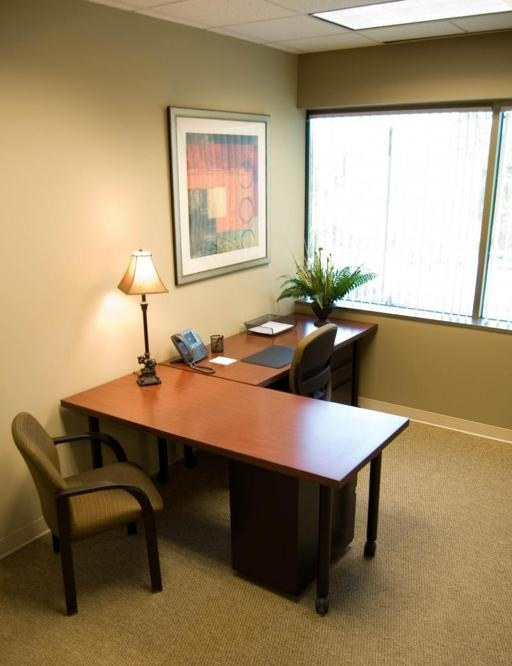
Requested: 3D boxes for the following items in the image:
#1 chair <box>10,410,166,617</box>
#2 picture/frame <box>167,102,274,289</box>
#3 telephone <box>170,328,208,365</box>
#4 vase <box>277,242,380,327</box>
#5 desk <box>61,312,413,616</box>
[{"bbox_3d":[-0.639,0.661,2.134,0.531,0.741,0.560,0,15,-4],"label":"chair"},{"bbox_3d":[-0.235,-0.854,3.188,0.042,1.139,1.040,8,17,30],"label":"picture/frame"},{"bbox_3d":[-0.357,0.075,2.950,0.157,0.188,0.266,2,14,21],"label":"telephone"},{"bbox_3d":[0.517,-0.373,3.858,0.595,0.480,0.618,4,16,20],"label":"vase"},{"bbox_3d":[-0.050,0.455,2.213,1.028,0.448,0.955,12,23,33],"label":"desk"}]
